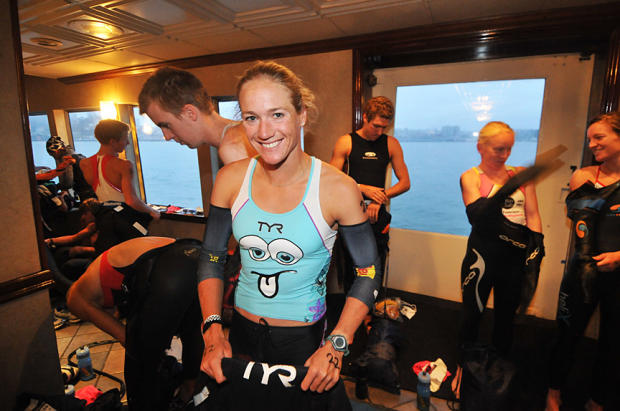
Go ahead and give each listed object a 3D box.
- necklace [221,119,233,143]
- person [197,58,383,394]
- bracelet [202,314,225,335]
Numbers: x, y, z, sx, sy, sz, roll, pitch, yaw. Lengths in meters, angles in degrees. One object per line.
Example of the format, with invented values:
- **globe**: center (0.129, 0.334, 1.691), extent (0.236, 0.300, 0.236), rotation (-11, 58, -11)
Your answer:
- **necklace**: center (-0.640, -0.575, 3.432), extent (0.068, 0.135, 0.163), rotation (18, 21, -16)
- **person**: center (-0.168, 0.125, 2.789), extent (1.180, 1.990, 0.730), rotation (-6, 13, -15)
- **bracelet**: center (-0.629, 0.772, 2.902), extent (0.116, 0.124, 0.068), rotation (17, -16, 7)
